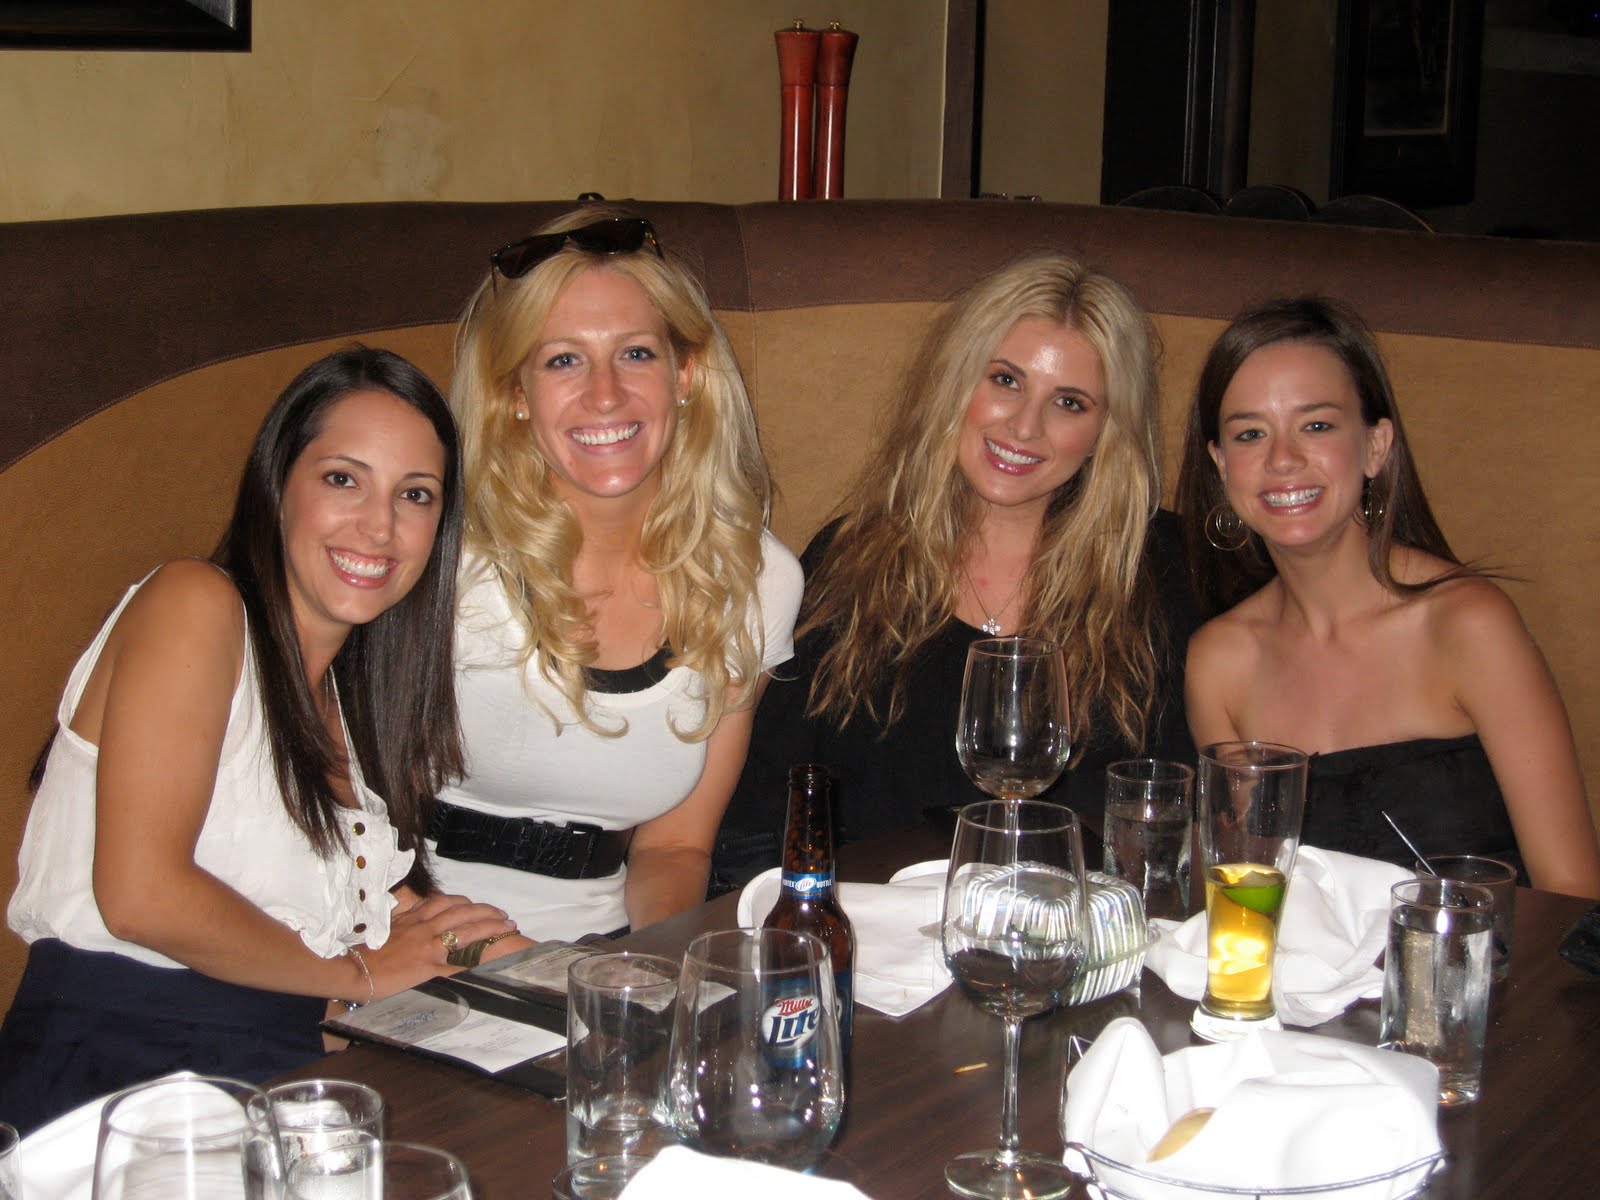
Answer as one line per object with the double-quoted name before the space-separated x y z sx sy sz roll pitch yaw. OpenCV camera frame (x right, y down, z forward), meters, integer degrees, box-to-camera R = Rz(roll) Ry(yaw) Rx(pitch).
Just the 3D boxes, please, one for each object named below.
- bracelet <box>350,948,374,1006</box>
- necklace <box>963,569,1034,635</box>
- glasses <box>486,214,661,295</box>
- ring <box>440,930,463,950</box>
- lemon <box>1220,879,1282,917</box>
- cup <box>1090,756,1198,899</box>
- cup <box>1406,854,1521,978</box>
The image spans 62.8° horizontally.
"bracelet" -0.656 0.561 1.959 0.018 0.063 0.063 1 10 -30
"necklace" 0.447 0.006 2.874 0.136 0.134 0.042 -1 1 -6
"glasses" -0.420 -0.664 2.448 0.313 0.122 0.083 -3 10 -9
"ring" -0.524 0.510 1.962 0.018 0.008 0.026 3 34 -2
"lemon" 0.507 0.324 1.446 0.043 0.032 0.051 0 1 1
"cup" 0.451 0.330 1.711 0.160 0.207 0.165 4 -8 1
"cup" 0.790 0.358 1.560 0.120 0.143 0.128 -1 9 0
